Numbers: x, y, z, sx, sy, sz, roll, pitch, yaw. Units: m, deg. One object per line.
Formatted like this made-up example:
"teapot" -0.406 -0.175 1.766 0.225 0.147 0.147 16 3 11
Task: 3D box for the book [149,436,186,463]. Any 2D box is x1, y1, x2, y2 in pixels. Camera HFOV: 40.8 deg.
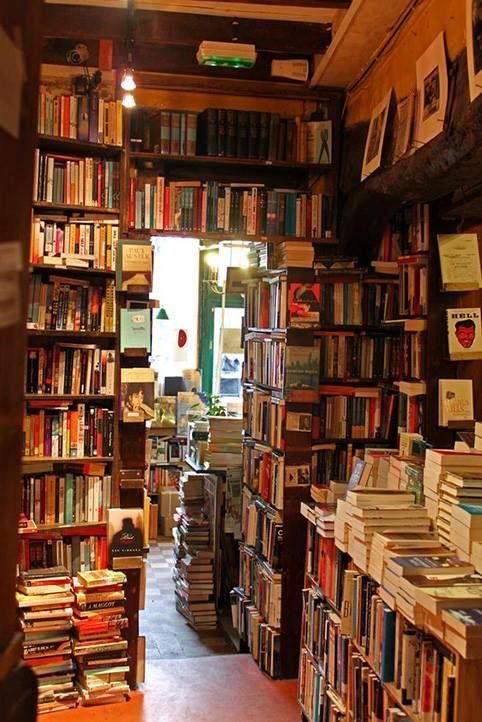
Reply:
"book" -0.916 1.130 8.177 0.432 0.336 0.196 0 -1 -7

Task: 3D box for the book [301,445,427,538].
"book" 0.619 0.610 3.237 0.541 0.467 0.591 1 2 -4

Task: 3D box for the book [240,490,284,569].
"book" 0.158 1.158 4.393 0.265 0.119 0.367 28 -3 -12

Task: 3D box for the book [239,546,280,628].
"book" 0.124 1.552 4.467 0.108 0.386 0.275 -12 -16 -14

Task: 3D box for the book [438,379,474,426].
"book" 1.108 0.213 3.330 0.216 0.316 0.096 0 1 -5

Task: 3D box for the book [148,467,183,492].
"book" -0.957 1.456 8.063 0.288 0.429 0.410 2 -3 -6

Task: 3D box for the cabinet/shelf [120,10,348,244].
"cabinet/shelf" -0.077 -1.532 4.202 1.177 1.250 0.412 2 -2 -13
